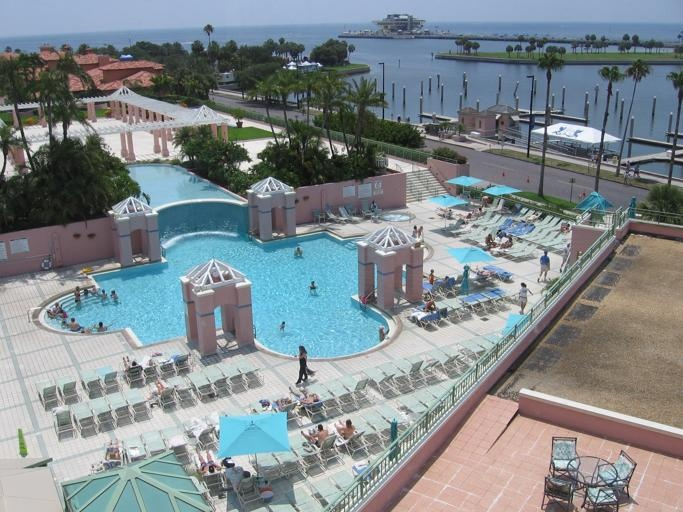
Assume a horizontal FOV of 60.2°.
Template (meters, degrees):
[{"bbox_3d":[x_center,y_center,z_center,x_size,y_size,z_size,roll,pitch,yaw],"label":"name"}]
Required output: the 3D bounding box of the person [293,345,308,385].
[{"bbox_3d":[-1.631,4.357,23.199,0.660,1.769,0.597,-1,34,-6],"label":"person"}]

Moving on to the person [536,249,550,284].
[{"bbox_3d":[10.451,0.502,30.491,0.457,1.327,1.242,7,21,22],"label":"person"}]

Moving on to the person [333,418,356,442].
[{"bbox_3d":[0.106,5.655,19.210,0.444,0.488,0.807,-5,25,-9],"label":"person"}]

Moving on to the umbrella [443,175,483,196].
[{"bbox_3d":[8.606,-5.182,42.627,1.852,1.222,1.828,-29,45,-29],"label":"umbrella"}]

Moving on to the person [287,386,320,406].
[{"bbox_3d":[-1.291,5.154,21.034,0.726,0.227,0.980,-4,22,-18],"label":"person"}]

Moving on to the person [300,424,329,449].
[{"bbox_3d":[-0.880,5.840,19.172,0.472,0.647,1.162,-11,8,-26],"label":"person"}]

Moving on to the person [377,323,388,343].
[{"bbox_3d":[1.784,3.456,25.968,0.239,1.076,0.437,5,9,20],"label":"person"}]

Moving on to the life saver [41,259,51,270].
[{"bbox_3d":[-16.469,0.498,32.848,0.554,0.548,0.127,4,4,-15],"label":"life saver"}]

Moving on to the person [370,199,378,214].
[{"bbox_3d":[2.170,-3.405,41.203,0.594,0.823,0.291,15,-20,-41],"label":"person"}]

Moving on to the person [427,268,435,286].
[{"bbox_3d":[4.577,1.099,30.312,0.340,0.869,0.426,-3,26,3],"label":"person"}]

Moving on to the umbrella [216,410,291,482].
[{"bbox_3d":[-2.704,5.673,17.962,1.719,1.727,1.647,0,50,-10],"label":"umbrella"}]

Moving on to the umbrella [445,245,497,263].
[{"bbox_3d":[6.425,-0.011,29.381,1.720,0.699,1.359,-6,20,-11],"label":"umbrella"}]

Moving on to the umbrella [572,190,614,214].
[{"bbox_3d":[12.586,-2.553,29.914,2.110,0.973,2.142,15,27,39],"label":"umbrella"}]

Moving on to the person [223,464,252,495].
[{"bbox_3d":[-3.250,6.652,17.860,0.647,0.303,0.851,-8,39,-40],"label":"person"}]

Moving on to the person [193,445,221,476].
[{"bbox_3d":[-4.230,6.434,18.382,0.440,0.388,1.104,1,21,-18],"label":"person"}]

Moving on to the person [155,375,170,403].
[{"bbox_3d":[-6.712,4.871,21.836,0.467,0.544,0.853,-2,45,-24],"label":"person"}]
